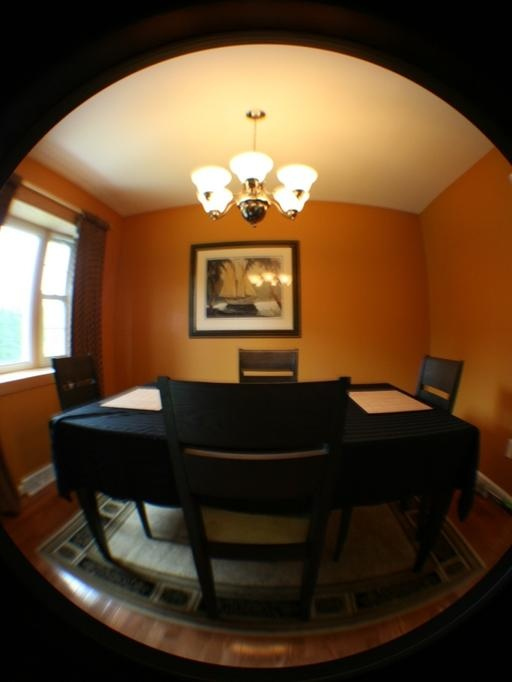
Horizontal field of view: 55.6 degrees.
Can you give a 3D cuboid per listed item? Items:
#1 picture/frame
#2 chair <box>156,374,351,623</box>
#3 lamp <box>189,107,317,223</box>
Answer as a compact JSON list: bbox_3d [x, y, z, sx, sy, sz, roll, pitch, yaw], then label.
[{"bbox_3d":[-0.021,-0.094,0.952,0.195,0.162,0.015,-1,-3,13],"label":"picture/frame"},{"bbox_3d":[-0.005,0.230,0.675,0.237,0.393,0.136,4,7,10],"label":"chair"},{"bbox_3d":[0.000,-0.339,0.991,0.173,0.160,0.185,0,-20,9],"label":"lamp"}]
